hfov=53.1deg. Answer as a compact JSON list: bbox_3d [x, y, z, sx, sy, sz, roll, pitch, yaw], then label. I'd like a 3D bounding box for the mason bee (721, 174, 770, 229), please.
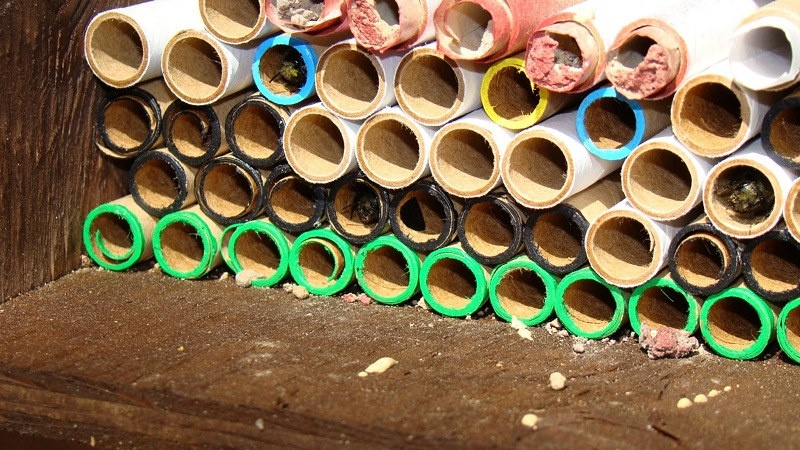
[{"bbox_3d":[2.145,-0.149,4.940,0.245,0.318,0.114,-7,-9,1],"label":"mason bee"}]
